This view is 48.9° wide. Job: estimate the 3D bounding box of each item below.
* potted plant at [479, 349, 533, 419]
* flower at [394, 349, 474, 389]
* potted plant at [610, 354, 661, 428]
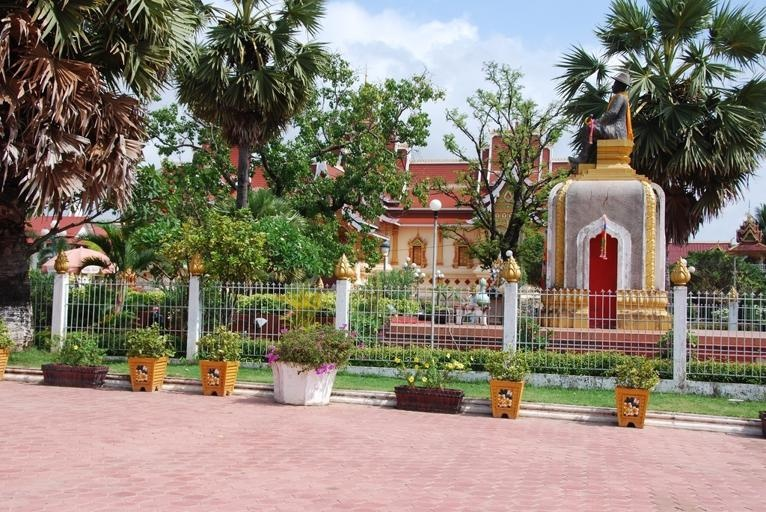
[{"bbox_3d":[2.417,2.478,16.348,0.779,1.319,0.568,0,-8,7],"label":"potted plant"},{"bbox_3d":[0.976,2.327,17.139,0.891,0.641,1.104,-1,-2,20],"label":"flower"},{"bbox_3d":[4.598,2.559,16.006,1.030,1.643,1.189,0,-3,26],"label":"potted plant"}]
